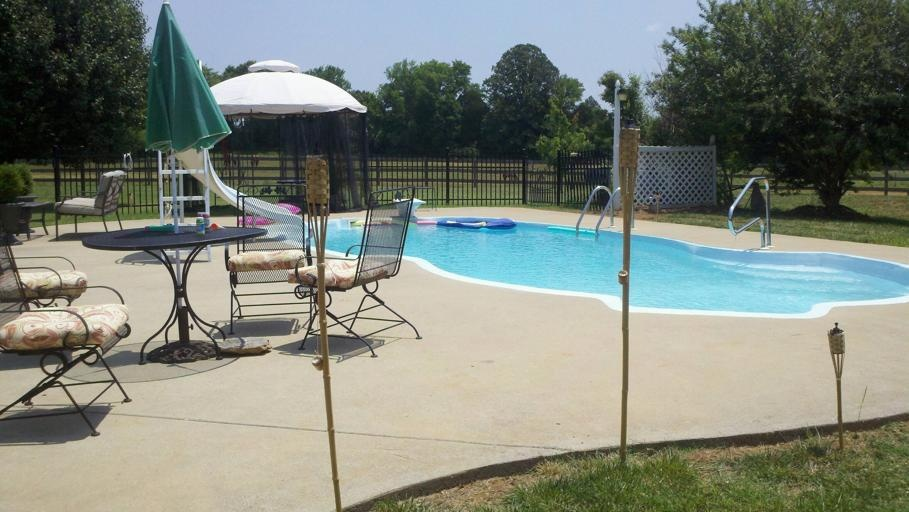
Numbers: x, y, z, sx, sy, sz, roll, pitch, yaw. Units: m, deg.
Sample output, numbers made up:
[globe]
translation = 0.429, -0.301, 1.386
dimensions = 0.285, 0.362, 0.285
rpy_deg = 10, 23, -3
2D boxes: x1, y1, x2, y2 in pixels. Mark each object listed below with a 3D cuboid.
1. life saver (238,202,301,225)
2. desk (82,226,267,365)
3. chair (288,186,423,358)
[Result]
[life saver]
translation = -3.706, -0.825, 15.569
dimensions = 0.811, 0.231, 0.880
rpy_deg = 3, 6, 25
[desk]
translation = -4.348, 0.678, 12.524
dimensions = 2.575, 1.841, 2.491
rpy_deg = -4, 4, 0
[chair]
translation = -1.719, 0.244, 13.100
dimensions = 2.352, 2.424, 2.307
rpy_deg = -3, 5, -11
